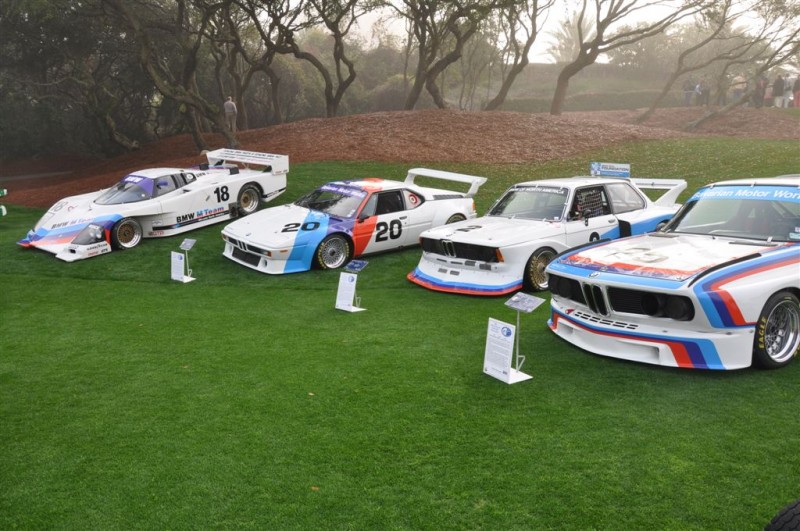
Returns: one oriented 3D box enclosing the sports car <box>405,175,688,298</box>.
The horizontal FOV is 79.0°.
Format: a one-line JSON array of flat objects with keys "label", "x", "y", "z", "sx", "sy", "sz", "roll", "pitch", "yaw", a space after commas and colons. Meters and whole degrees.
[{"label": "sports car", "x": 3.317, "y": -0.883, "z": 10.298, "sx": 5.420, "sy": 1.493, "sz": 2.559, "roll": -10, "pitch": 11, "yaw": -33}]
